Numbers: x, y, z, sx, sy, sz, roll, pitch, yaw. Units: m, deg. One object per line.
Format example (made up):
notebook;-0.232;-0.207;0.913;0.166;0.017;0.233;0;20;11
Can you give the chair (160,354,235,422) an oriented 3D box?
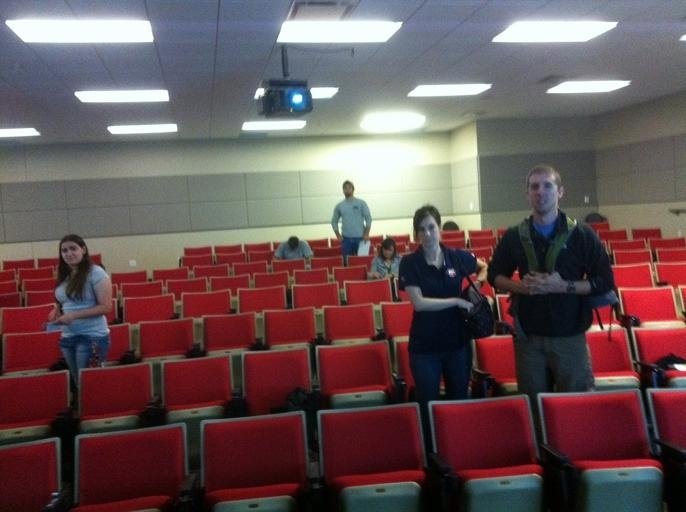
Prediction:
chair;-1.259;1.104;4.493;0.421;0.633;0.499;-1;-12;-8

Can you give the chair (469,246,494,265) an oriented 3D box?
chair;1.828;-0.017;6.865;0.182;0.362;0.252;-3;-17;-4

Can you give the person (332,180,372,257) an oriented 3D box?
person;0.156;-0.605;9.599;0.682;1.469;0.711;-2;6;0

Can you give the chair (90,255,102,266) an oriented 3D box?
chair;-4.218;0.065;8.933;0.148;0.187;0.167;-1;-5;6

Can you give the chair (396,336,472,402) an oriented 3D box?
chair;0.828;0.966;4.626;0.531;0.807;0.609;0;-7;2

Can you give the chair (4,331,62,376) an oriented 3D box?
chair;-3.367;1.062;5.650;0.482;0.752;0.583;2;-6;-33

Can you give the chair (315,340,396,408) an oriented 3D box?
chair;0.115;1.121;4.602;0.687;0.717;0.562;-4;-1;-5

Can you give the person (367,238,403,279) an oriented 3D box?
person;0.599;0.020;7.472;0.543;0.902;0.494;1;0;4

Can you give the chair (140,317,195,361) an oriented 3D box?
chair;-1.934;0.912;5.754;0.389;0.560;0.439;-1;-10;-13

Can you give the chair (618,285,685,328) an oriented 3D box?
chair;3.407;0.547;5.762;0.496;0.535;0.432;-1;-2;7

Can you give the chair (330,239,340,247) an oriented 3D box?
chair;-0.208;-0.310;12.268;0.195;0.265;0.206;0;-1;-31

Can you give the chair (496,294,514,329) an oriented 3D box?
chair;1.813;0.529;5.881;0.132;0.251;0.140;-12;-9;22

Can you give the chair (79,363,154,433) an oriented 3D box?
chair;-1.916;1.152;4.358;0.452;0.682;0.506;1;-8;-13

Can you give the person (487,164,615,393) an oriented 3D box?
person;1.451;0.195;3.686;0.820;1.640;0.425;1;6;29

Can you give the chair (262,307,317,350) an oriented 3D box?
chair;-0.590;0.772;5.879;0.565;0.341;0.154;-4;6;-12

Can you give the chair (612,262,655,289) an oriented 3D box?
chair;3.696;0.252;6.645;0.263;0.453;0.318;-2;-3;10

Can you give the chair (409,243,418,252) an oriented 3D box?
chair;1.164;-0.146;8.592;0.165;0.137;0.174;0;-1;8

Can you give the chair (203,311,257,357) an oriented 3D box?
chair;-1.274;0.854;5.856;0.383;0.576;0.446;0;-12;-11

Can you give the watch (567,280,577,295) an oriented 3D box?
watch;1.535;0.210;3.511;0.054;0.088;0.077;2;5;15

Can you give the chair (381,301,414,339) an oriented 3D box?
chair;0.609;0.693;5.816;0.289;0.461;0.351;0;-8;0

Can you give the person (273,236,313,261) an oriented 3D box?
person;-0.926;-0.134;9.875;0.732;0.424;1.321;-2;-8;-2

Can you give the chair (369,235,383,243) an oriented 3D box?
chair;0.780;-0.384;12.013;0.230;0.247;0.186;0;-2;-1

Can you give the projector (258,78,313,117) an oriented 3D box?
projector;-0.790;-2.104;7.267;0.672;0.521;0.697;-4;-2;-18

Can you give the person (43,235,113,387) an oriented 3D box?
person;-2.310;0.472;4.639;0.526;1.318;0.389;-3;6;-9
